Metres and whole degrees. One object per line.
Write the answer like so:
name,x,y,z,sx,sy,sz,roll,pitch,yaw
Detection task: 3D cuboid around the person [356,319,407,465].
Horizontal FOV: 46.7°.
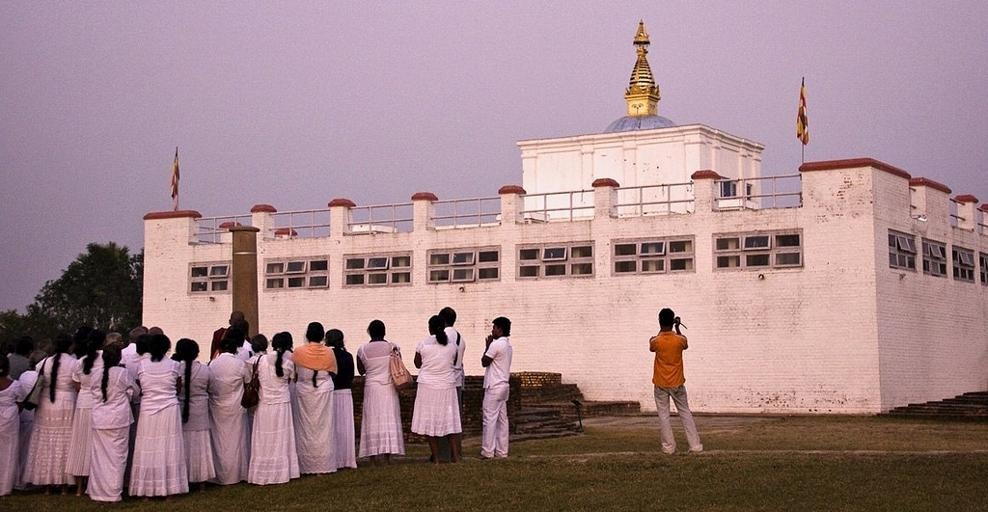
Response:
person,-3.167,3.687,31.520,1.151,3.766,0.930,-1,-10,-4

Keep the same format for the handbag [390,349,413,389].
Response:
handbag,-2.569,3.086,31.512,0.578,1.009,0.345,-1,-10,-2

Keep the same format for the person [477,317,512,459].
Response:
person,0.037,3.705,32.298,0.868,3.938,1.095,-1,-10,-1

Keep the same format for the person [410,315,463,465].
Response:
person,-1.569,3.684,31.829,1.218,4.025,1.190,-1,-10,-2
